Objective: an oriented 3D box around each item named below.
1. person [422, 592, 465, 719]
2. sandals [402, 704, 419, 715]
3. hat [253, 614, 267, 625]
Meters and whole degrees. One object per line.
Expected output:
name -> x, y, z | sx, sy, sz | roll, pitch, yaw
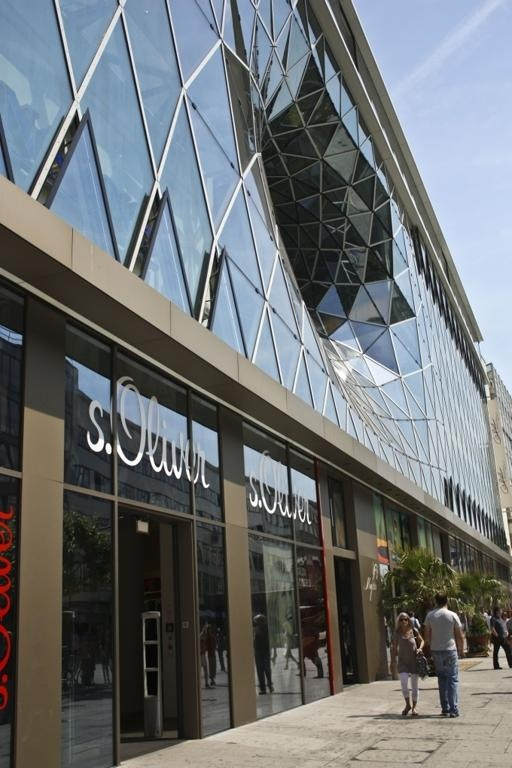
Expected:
person -> 2.752, 3.869, 8.243 | 0.517, 1.626, 1.298 | -8, -20, 16
sandals -> 2.331, 4.925, 8.655 | 0.229, 0.138, 0.482 | -12, -25, 12
hat -> 0.042, 3.921, 9.570 | 0.047, 0.154, 0.531 | -8, -24, 17
